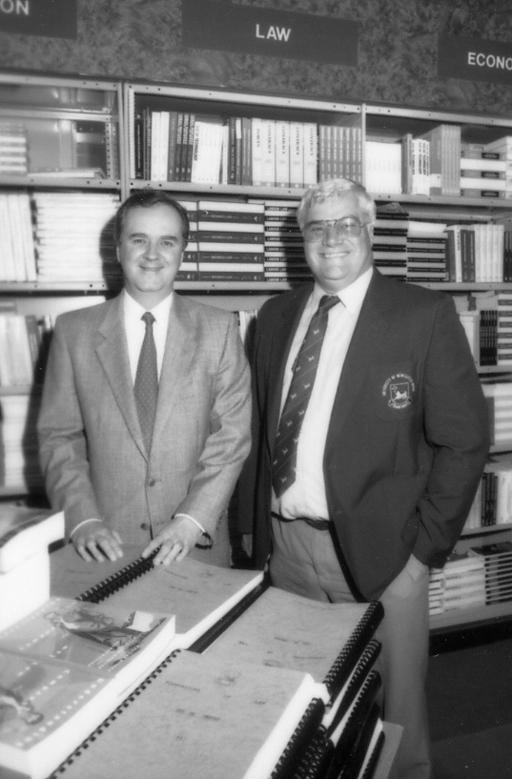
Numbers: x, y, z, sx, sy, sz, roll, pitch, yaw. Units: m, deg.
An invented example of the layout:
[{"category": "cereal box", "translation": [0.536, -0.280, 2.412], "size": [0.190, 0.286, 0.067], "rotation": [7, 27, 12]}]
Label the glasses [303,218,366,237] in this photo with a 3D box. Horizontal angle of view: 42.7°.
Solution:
[{"category": "glasses", "translation": [0.198, -0.414, 1.683], "size": [0.142, 0.064, 0.064], "rotation": [9, 6, 7]}]

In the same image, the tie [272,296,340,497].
[{"category": "tie", "translation": [0.113, 0.013, 1.645], "size": [0.105, 0.512, 0.174], "rotation": [8, 6, 15]}]

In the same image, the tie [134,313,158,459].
[{"category": "tie", "translation": [-0.260, -0.011, 1.562], "size": [0.048, 0.333, 0.031], "rotation": [0, -11, -4]}]
